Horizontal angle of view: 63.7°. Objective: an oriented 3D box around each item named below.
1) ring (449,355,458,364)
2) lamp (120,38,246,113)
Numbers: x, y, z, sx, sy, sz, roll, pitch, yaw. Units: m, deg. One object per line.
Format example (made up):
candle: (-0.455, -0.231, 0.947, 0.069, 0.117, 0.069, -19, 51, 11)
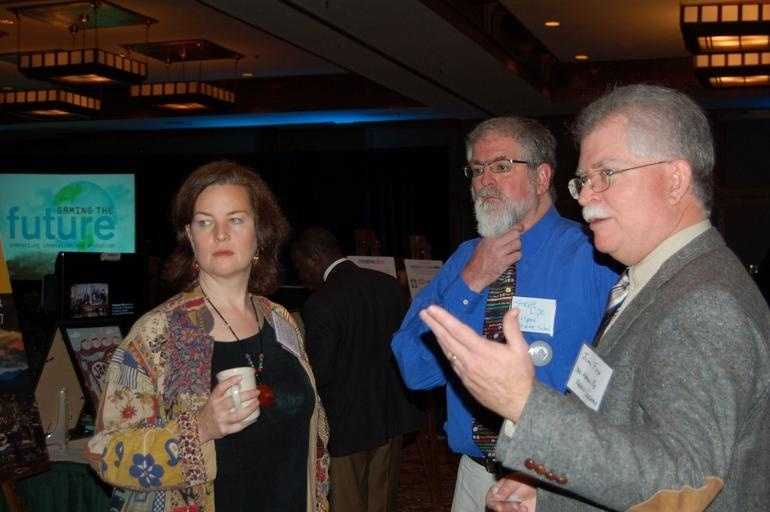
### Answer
ring: (0.198, 0.297, 1.784, 0.027, 0.026, 0.027, -1, 9, 0)
lamp: (-3.002, -2.664, 9.191, 1.098, 0.618, 1.073, 3, 5, 20)
